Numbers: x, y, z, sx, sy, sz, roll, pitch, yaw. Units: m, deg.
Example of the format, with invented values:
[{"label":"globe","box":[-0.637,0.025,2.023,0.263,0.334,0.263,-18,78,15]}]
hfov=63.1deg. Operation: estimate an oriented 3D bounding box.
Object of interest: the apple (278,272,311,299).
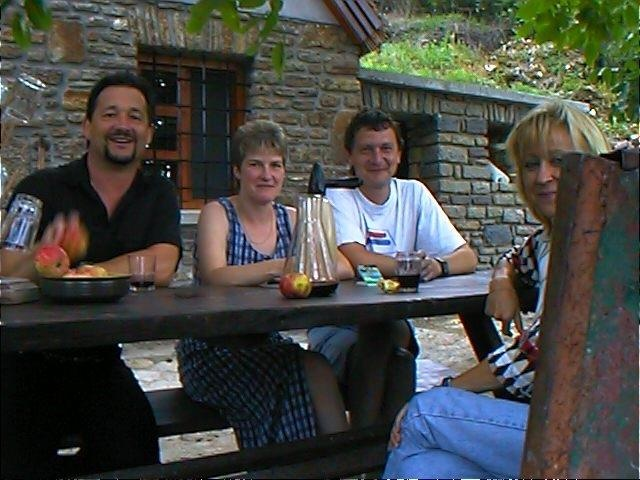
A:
[{"label":"apple","box":[-0.088,0.158,1.818,0.085,0.082,0.087,-5,-3,37]}]

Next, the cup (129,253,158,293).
[{"label":"cup","box":[-0.709,0.131,2.071,0.112,0.135,0.117,0,-2,0]}]

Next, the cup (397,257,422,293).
[{"label":"cup","box":[0.343,0.123,2.030,0.093,0.145,0.095,0,1,0]}]
